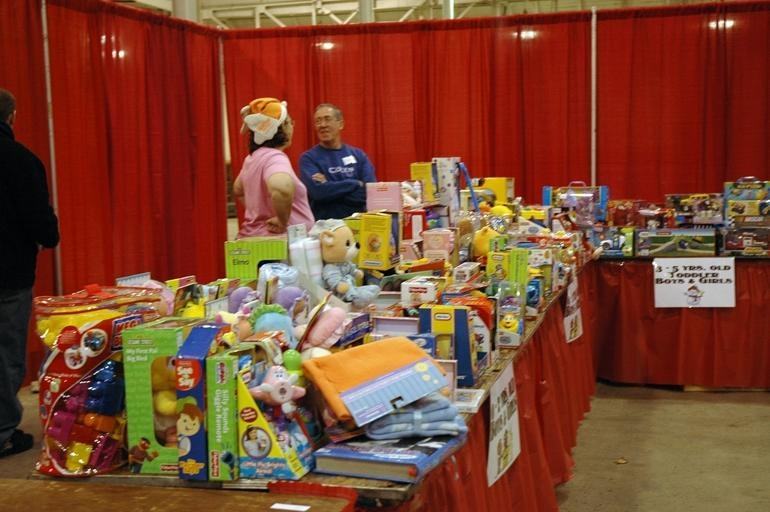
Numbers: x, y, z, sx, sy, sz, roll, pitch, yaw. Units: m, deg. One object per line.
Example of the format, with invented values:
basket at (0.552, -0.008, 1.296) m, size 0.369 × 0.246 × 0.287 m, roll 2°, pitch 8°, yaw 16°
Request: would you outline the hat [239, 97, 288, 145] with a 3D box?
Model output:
hat at (-0.733, -0.849, 4.233) m, size 0.312 × 0.257 × 0.234 m, roll -8°, pitch 28°, yaw -13°
